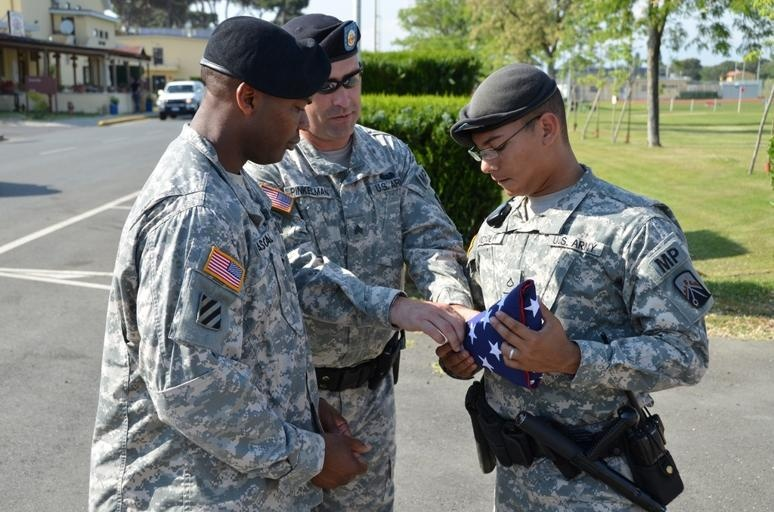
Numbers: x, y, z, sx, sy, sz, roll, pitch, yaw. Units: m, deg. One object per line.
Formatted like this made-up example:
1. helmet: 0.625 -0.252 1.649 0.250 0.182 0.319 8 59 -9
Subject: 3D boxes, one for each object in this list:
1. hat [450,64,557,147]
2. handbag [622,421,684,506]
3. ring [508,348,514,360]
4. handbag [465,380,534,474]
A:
1. hat: 0.730 -0.892 5.048 0.573 0.325 0.445 -19 12 8
2. handbag: 1.593 1.233 4.818 0.348 0.487 0.179 -31 7 -28
3. ring: 0.734 0.580 4.766 0.010 0.045 0.043 9 -4 -9
4. handbag: 0.694 1.071 5.084 0.192 0.483 0.437 -4 -5 -36
